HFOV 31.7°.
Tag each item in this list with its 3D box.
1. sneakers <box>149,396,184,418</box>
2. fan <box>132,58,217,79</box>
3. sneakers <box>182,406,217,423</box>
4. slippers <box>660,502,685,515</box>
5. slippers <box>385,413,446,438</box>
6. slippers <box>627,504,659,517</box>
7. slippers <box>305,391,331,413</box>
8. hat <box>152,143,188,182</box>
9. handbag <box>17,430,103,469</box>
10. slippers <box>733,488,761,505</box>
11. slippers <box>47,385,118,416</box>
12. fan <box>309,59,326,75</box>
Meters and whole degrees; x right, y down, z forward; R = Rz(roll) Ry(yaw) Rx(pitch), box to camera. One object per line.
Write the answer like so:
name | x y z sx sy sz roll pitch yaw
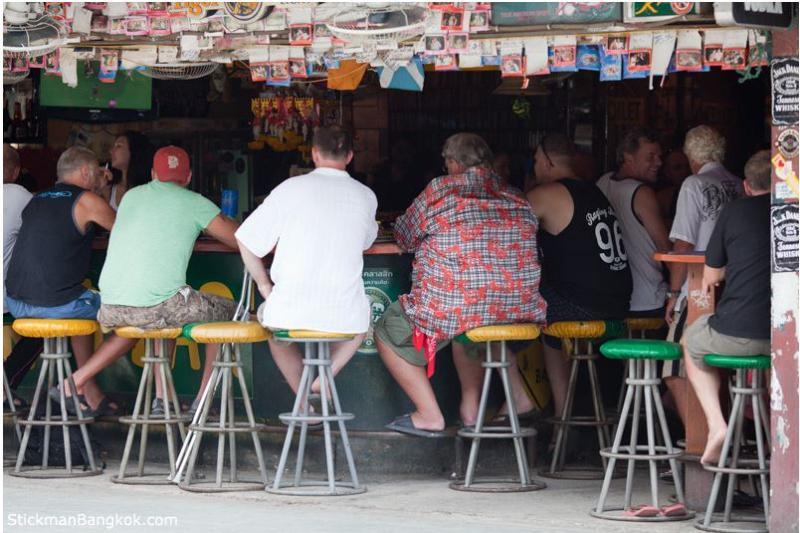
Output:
sneakers | -1.705 1.027 10.281 0.126 0.146 0.346 1 1 5
fan | -1.754 -1.523 10.881 0.571 0.089 1.000 -1 4 -18
sneakers | -1.410 1.085 10.281 0.116 0.131 0.355 5 -11 -39
slippers | 1.797 1.549 8.987 0.111 0.033 0.080 0 1 -6
slippers | 0.152 1.129 9.918 0.333 0.097 0.201 4 -3 1
slippers | 1.599 1.556 8.961 0.177 0.045 0.077 -1 -3 -15
slippers | -0.546 0.947 9.764 0.178 0.074 0.213 1 -2 -5
hat | -1.631 -0.757 10.004 0.278 0.190 0.373 -1 30 -7
handbag | -2.519 1.347 10.389 0.473 0.130 0.333 3 3 -11
slippers | 2.355 1.532 9.344 0.238 0.090 0.079 -2 4 -10
slippers | -2.363 1.027 10.436 0.544 0.184 0.193 13 4 -38
fan | -0.620 -1.531 10.864 0.109 0.048 0.138 -1 -3 -7
